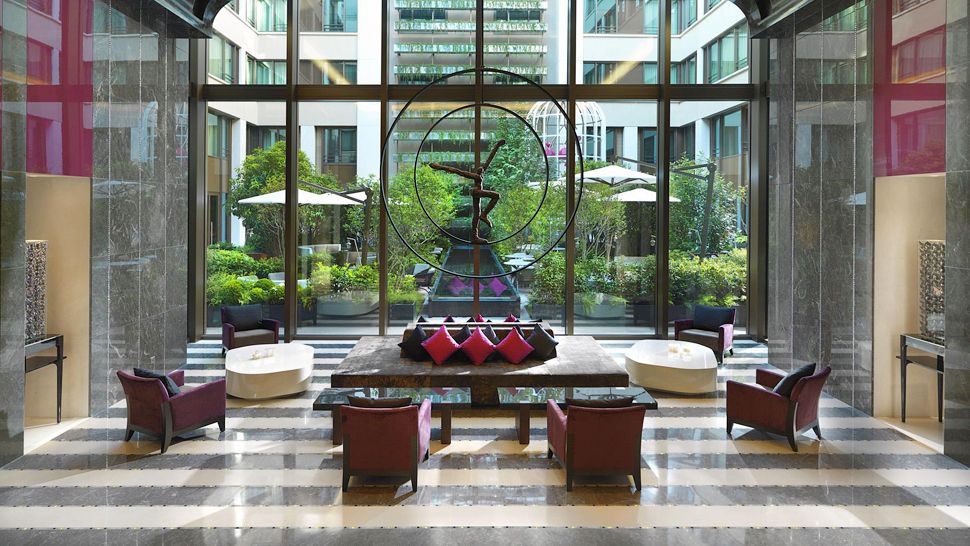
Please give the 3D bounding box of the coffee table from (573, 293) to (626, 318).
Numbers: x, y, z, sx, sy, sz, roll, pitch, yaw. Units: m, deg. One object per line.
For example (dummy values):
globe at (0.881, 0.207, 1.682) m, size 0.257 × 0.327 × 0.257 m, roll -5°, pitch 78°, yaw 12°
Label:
coffee table at (2.569, 0.723, 17.848) m, size 1.095 × 0.577 × 0.138 m, roll 0°, pitch 5°, yaw 9°

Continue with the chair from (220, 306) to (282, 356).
chair at (-5.073, 1.141, 17.136) m, size 1.314 × 1.344 × 1.004 m, roll 1°, pitch -6°, yaw -35°

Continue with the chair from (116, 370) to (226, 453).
chair at (-5.453, 2.339, 14.132) m, size 1.375 × 1.442 × 1.597 m, roll 3°, pitch 5°, yaw 32°

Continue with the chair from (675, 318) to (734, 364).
chair at (4.643, 1.369, 17.050) m, size 1.088 × 0.864 × 0.890 m, roll 0°, pitch -4°, yaw 42°

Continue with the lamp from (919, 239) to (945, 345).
lamp at (7.859, 0.316, 14.233) m, size 0.198 × 1.756 × 0.594 m, roll -3°, pitch 6°, yaw -16°

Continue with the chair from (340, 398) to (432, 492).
chair at (-1.624, 2.698, 13.468) m, size 1.115 × 1.268 × 1.483 m, roll 1°, pitch 0°, yaw -1°

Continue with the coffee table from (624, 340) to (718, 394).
coffee table at (3.657, 1.881, 15.796) m, size 1.682 × 0.807 × 1.040 m, roll 1°, pitch 6°, yaw 20°

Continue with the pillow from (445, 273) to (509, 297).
pillow at (-0.161, 0.317, 17.553) m, size 1.345 × 0.463 × 0.216 m, roll 2°, pitch 10°, yaw -2°

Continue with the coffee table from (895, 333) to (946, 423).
coffee table at (7.751, 1.817, 14.325) m, size 0.625 × 1.431 × 1.707 m, roll 0°, pitch 1°, yaw 18°

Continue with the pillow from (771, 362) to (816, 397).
pillow at (5.281, 1.822, 13.810) m, size 0.670 × 0.529 × 0.413 m, roll 0°, pitch 6°, yaw 14°

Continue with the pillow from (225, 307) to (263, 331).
pillow at (-5.130, 0.966, 17.044) m, size 0.484 × 0.311 × 0.162 m, roll -3°, pitch -23°, yaw -22°
